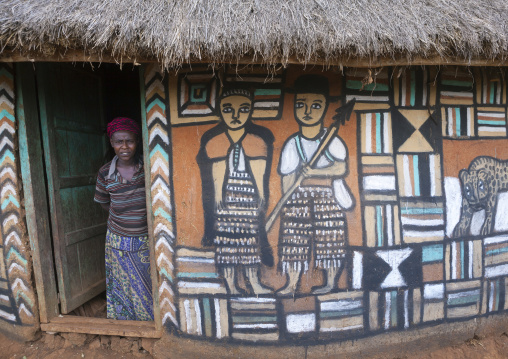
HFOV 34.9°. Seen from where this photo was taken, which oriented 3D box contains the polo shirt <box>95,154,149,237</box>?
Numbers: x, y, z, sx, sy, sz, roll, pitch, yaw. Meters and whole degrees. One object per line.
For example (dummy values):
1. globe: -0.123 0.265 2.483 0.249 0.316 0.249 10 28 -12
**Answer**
1. polo shirt: -1.413 0.180 8.804 0.774 0.908 0.470 -4 11 -20
